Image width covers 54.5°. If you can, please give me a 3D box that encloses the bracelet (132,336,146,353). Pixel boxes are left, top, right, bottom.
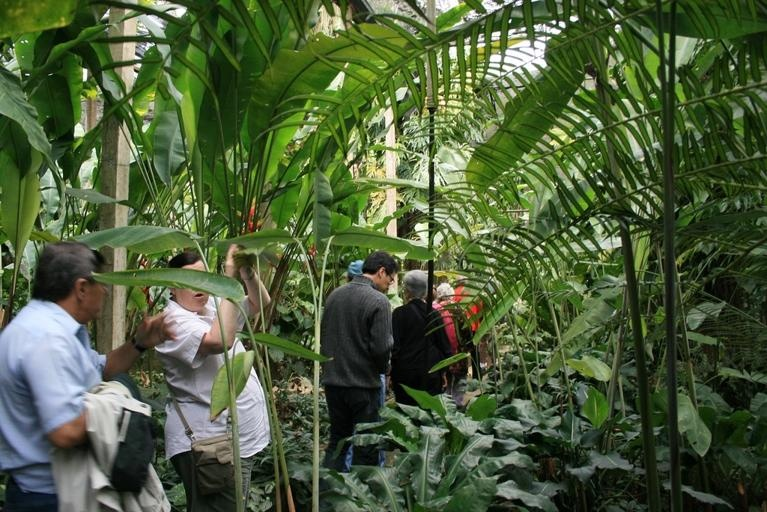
[{"bbox_3d":[-1.058,0.394,3.223,0.059,0.063,0.059,21,-57,-29],"label":"bracelet"}]

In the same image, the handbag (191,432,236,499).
[{"bbox_3d":[-0.790,0.973,3.429,0.175,0.253,0.133,-7,-9,-26],"label":"handbag"}]

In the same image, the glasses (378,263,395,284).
[{"bbox_3d":[0.036,0.122,4.992,0.086,0.120,0.124,-4,22,25],"label":"glasses"}]

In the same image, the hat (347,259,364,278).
[{"bbox_3d":[-0.209,0.095,5.262,0.091,0.131,0.128,-5,-5,7],"label":"hat"}]
